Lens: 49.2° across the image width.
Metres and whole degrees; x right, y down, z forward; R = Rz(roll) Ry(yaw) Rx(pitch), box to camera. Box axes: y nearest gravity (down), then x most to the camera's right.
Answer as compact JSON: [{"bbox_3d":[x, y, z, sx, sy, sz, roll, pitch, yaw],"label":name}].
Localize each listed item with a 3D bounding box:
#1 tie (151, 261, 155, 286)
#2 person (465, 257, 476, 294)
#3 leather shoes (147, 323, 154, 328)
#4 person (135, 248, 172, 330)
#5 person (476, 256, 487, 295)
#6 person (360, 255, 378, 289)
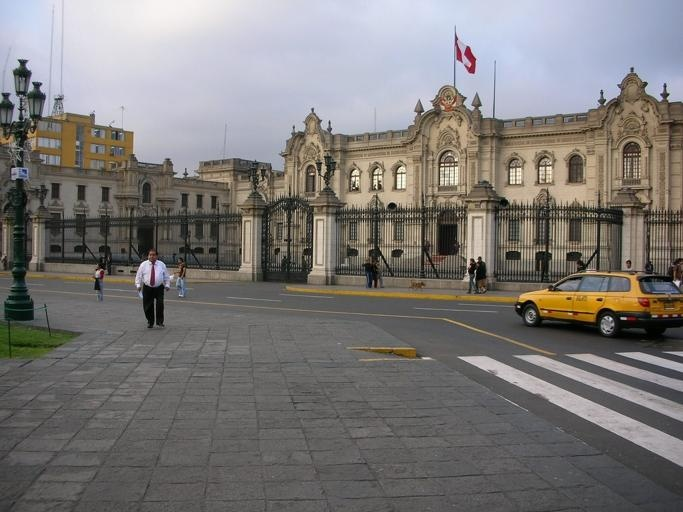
[{"bbox_3d":[-4.399,0.424,17.371,0.106,0.506,0.238,0,6,-13],"label":"tie"},{"bbox_3d":[5.330,0.786,30.091,0.372,1.361,1.195,2,6,10],"label":"person"},{"bbox_3d":[-4.493,1.639,17.554,0.167,0.172,0.083,2,-2,39],"label":"leather shoes"},{"bbox_3d":[-4.462,0.779,17.468,0.720,1.876,0.682,2,6,4],"label":"person"},{"bbox_3d":[5.761,0.749,30.268,0.408,1.433,1.234,3,6,14],"label":"person"},{"bbox_3d":[1.321,0.684,32.338,0.597,1.386,0.874,2,6,2],"label":"person"}]
